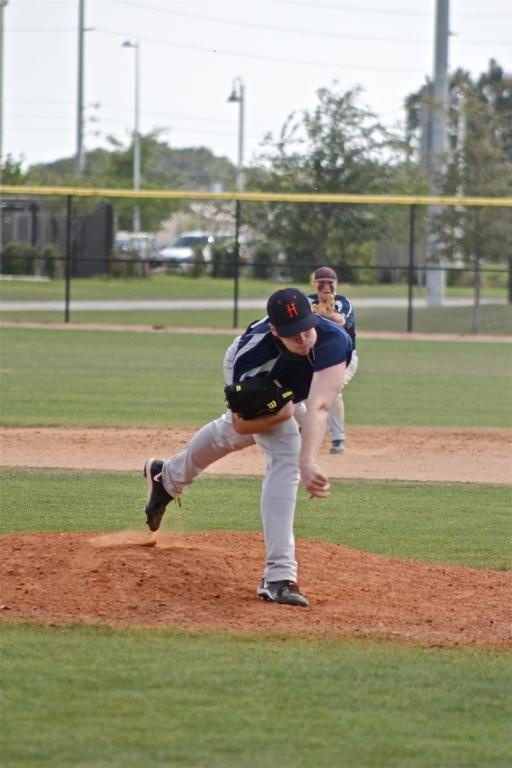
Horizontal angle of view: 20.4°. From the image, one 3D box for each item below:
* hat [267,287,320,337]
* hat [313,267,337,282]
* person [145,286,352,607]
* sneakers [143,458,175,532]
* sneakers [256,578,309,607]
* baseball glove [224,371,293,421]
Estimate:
[{"bbox_3d":[0.132,-0.268,5.418,0.184,0.178,0.214,2,6,0],"label":"hat"},{"bbox_3d":[0.434,-0.711,9.101,0.100,0.081,0.141,0,-1,-2],"label":"hat"},{"bbox_3d":[0.033,0.234,5.801,0.509,1.266,1.254,-1,7,-21],"label":"person"},{"bbox_3d":[-0.434,0.511,6.395,0.110,0.341,0.145,-1,32,-7],"label":"sneakers"},{"bbox_3d":[0.110,0.845,5.737,0.218,0.115,0.086,4,3,33],"label":"sneakers"},{"bbox_3d":[0.015,0.042,5.674,0.307,0.152,0.228,-2,12,-14],"label":"baseball glove"}]
